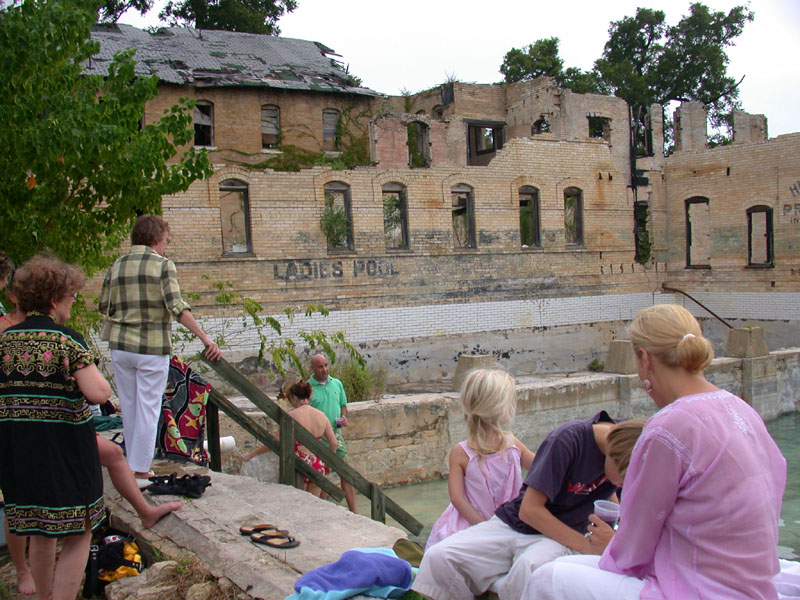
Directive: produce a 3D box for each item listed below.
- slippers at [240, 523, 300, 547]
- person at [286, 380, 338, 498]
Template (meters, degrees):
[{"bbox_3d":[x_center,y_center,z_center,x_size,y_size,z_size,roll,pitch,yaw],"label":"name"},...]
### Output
[{"bbox_3d":[-1.088,1.997,7.397,0.339,0.116,0.220,8,-3,18],"label":"slippers"},{"bbox_3d":[-1.038,1.721,10.594,0.592,1.445,1.583,-2,0,-6],"label":"person"}]
